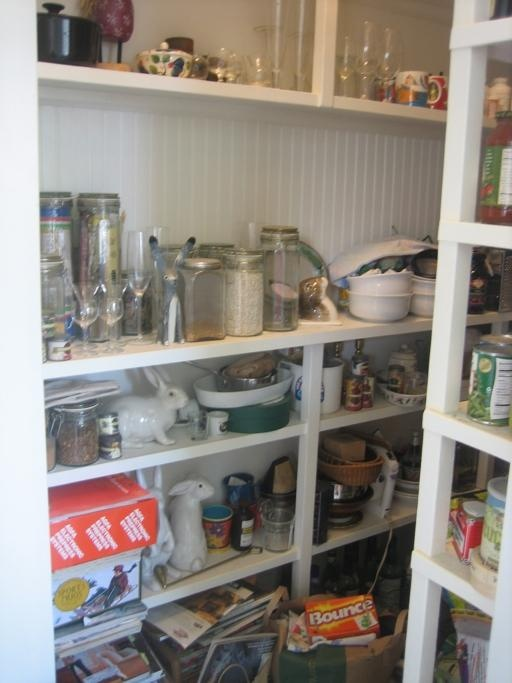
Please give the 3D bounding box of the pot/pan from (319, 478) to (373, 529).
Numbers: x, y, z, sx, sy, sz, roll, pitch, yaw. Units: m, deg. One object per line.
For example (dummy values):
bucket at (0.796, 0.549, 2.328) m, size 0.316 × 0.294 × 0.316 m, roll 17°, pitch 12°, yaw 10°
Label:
pot/pan at (0.263, 0.487, 1.756) m, size 0.149 × 0.067 × 0.153 m, roll -1°, pitch -1°, yaw -9°

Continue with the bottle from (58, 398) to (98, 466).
bottle at (-0.367, 0.193, 1.175) m, size 0.077 × 0.135 × 0.068 m, roll -8°, pitch 22°, yaw -36°

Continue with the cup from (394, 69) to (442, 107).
cup at (0.457, -0.699, 1.589) m, size 0.132 × 0.099 × 0.100 m, roll 1°, pitch 9°, yaw 2°

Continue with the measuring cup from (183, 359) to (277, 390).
measuring cup at (-0.048, 0.080, 1.482) m, size 0.175 × 0.064 × 0.104 m, roll -5°, pitch 17°, yaw -18°

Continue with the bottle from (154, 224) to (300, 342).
bottle at (-0.070, -0.177, 1.267) m, size 0.377 × 0.259 × 0.210 m, roll -8°, pitch 16°, yaw -28°

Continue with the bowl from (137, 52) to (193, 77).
bowl at (-0.184, -0.571, 1.173) m, size 0.089 × 0.035 × 0.085 m, roll 2°, pitch 28°, yaw -1°
